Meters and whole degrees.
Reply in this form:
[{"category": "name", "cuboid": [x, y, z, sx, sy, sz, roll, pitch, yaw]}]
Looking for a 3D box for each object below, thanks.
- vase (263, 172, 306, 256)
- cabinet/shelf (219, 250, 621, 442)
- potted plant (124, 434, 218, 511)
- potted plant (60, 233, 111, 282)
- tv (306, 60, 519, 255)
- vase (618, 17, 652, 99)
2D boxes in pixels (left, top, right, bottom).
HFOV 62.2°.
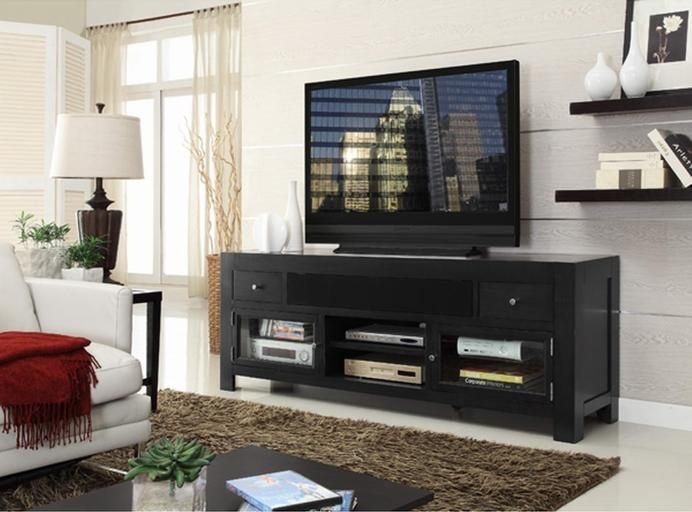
[{"category": "vase", "cuboid": [-0.412, -0.258, 3.705, 0.254, 0.455, 0.380, -1, 4, 3]}, {"category": "cabinet/shelf", "cuboid": [0.330, 0.446, 3.542, 2.315, 0.813, 0.658, 0, 0, 34]}, {"category": "potted plant", "cuboid": [-0.443, 0.529, 1.502, 0.209, 0.185, 0.187, 0, -1, -6]}, {"category": "potted plant", "cuboid": [-1.486, 0.050, 3.247, 0.244, 0.256, 0.241, -9, -8, 9]}, {"category": "tv", "cuboid": [0.432, -0.574, 3.412, 1.358, 0.920, 0.237, 1, 3, 32]}, {"category": "vase", "cuboid": [1.494, -1.003, 2.967, 0.143, 0.413, 0.221, 1, 5, 26]}]
